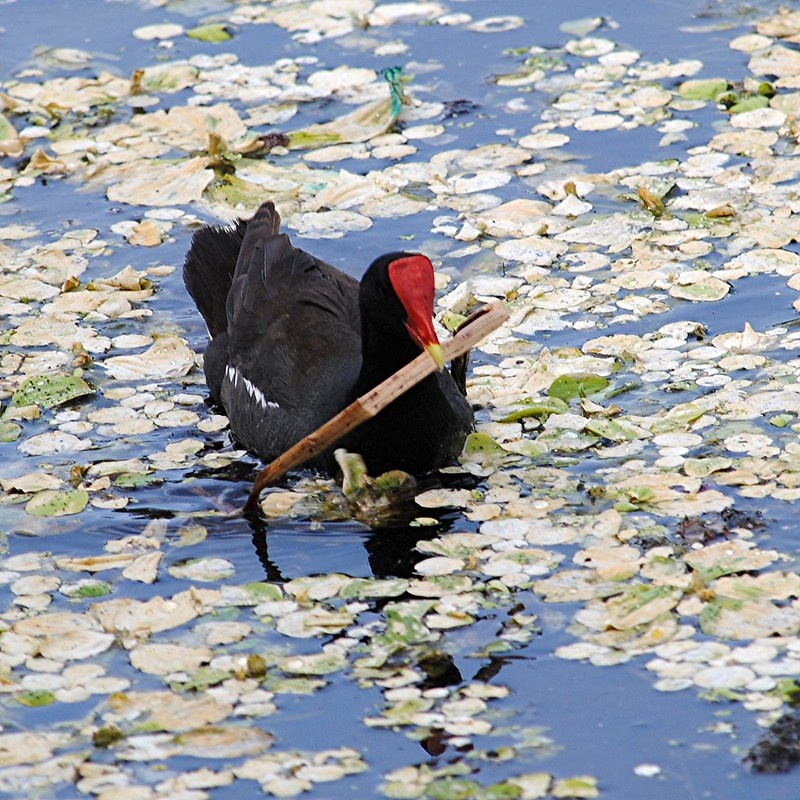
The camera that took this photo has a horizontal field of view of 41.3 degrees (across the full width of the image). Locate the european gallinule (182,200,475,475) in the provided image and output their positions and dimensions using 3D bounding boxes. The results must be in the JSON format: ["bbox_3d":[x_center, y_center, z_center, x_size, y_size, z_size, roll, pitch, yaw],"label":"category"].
[{"bbox_3d":[-0.299,-0.227,4.342,0.757,1.029,1.329,-24,58,-22],"label":"european gallinule"}]
